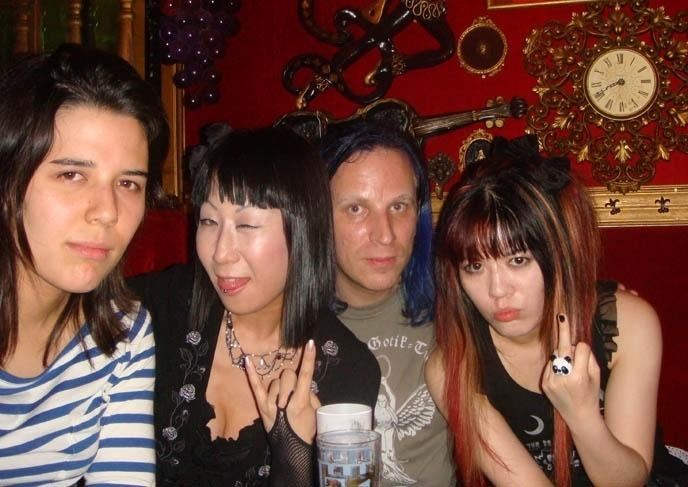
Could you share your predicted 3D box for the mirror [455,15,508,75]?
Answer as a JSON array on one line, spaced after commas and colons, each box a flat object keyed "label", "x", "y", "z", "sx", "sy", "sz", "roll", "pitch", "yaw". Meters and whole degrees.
[{"label": "mirror", "x": 1.251, "y": -1.773, "z": 5.866, "sx": 0.449, "sy": 0.607, "sz": 0.142, "roll": 16, "pitch": -13, "yaw": 9}]
